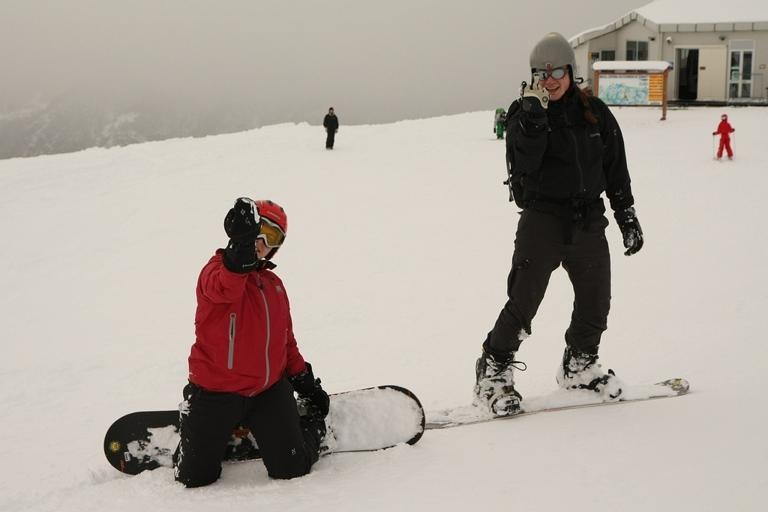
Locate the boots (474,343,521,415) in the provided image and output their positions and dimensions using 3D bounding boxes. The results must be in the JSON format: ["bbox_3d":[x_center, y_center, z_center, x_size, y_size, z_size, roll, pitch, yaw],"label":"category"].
[{"bbox_3d":[1.054,1.173,6.895,0.259,0.573,0.755,7,5,-15],"label":"boots"}]

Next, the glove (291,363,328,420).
[{"bbox_3d":[-0.653,1.205,6.611,0.279,0.505,0.206,-25,-8,-27],"label":"glove"}]

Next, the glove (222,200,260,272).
[{"bbox_3d":[-1.124,-0.158,5.903,0.286,0.593,0.205,-2,9,-12],"label":"glove"}]

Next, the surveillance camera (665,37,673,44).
[{"bbox_3d":[9.405,-7.120,24.596,0.131,0.205,0.105,-15,-19,25],"label":"surveillance camera"}]

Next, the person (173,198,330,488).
[{"bbox_3d":[-1.119,0.678,6.193,1.231,2.335,0.628,-1,9,-5],"label":"person"}]

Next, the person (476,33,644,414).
[{"bbox_3d":[1.596,-0.284,6.803,1.458,3.418,0.697,1,8,5],"label":"person"}]

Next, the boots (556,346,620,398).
[{"bbox_3d":[1.960,1.092,7.045,0.706,0.543,0.264,6,3,23],"label":"boots"}]

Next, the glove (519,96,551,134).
[{"bbox_3d":[1.321,-1.239,6.622,0.227,0.330,0.317,-3,11,10],"label":"glove"}]

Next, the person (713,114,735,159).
[{"bbox_3d":[7.045,-2.465,15.427,0.384,0.896,2.334,4,10,23],"label":"person"}]

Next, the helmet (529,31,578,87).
[{"bbox_3d":[1.584,-1.817,6.959,0.439,0.537,0.582,-4,14,6],"label":"helmet"}]

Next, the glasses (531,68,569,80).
[{"bbox_3d":[1.516,-1.652,6.727,0.346,0.137,0.163,3,10,14],"label":"glasses"}]

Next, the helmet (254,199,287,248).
[{"bbox_3d":[-0.962,-0.244,6.309,0.273,0.364,0.364,24,-6,-16],"label":"helmet"}]

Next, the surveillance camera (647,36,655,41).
[{"bbox_3d":[8.994,-7.291,25.020,0.244,0.146,0.174,0,4,21],"label":"surveillance camera"}]

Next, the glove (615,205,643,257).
[{"bbox_3d":[2.344,-0.241,7.100,0.234,0.484,0.121,-15,-7,18],"label":"glove"}]
